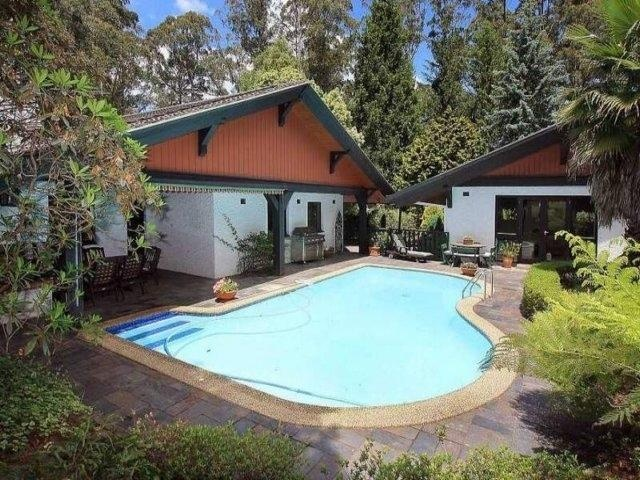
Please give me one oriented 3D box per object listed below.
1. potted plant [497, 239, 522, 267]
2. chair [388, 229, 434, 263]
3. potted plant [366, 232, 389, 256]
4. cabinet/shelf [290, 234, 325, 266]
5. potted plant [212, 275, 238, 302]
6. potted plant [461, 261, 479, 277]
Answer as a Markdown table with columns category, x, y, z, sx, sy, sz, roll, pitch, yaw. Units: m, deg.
| category | x | y | z | sx | sy | sz | roll | pitch | yaw |
| --- | --- | --- | --- | --- | --- | --- | --- | --- | --- |
| potted plant | 7.315 | 0.510 | 16.922 | 0.779 | 1.458 | 0.920 | 1 | 0 | -5 |
| chair | 3.827 | 0.330 | 18.732 | 1.988 | 1.545 | 0.866 | 3 | 6 | 42 |
| potted plant | 2.736 | 0.172 | 20.269 | 0.776 | 1.327 | 1.162 | 0 | 2 | 22 |
| cabinet/shelf | -0.539 | 0.014 | 17.827 | 0.831 | 1.537 | 1.672 | 1 | 3 | 30 |
| potted plant | -2.584 | 1.357 | 11.697 | 0.630 | 0.473 | 0.673 | 8 | 15 | 32 |
| potted plant | 5.105 | 1.045 | 15.094 | 0.517 | 0.309 | 0.748 | 7 | 15 | 28 |
